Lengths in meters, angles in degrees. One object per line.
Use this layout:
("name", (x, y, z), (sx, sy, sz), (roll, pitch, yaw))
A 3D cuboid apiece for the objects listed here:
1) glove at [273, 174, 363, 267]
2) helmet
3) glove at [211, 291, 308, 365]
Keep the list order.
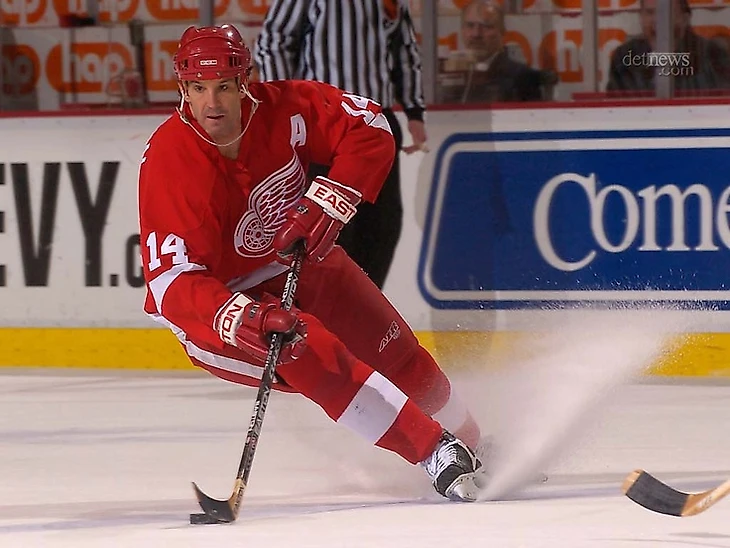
("glove", (-0.185, -0.209, 4.080), (0.233, 0.350, 0.143), (33, -14, 2))
("helmet", (-0.595, -0.829, 4.140), (0.344, 0.300, 0.370), (-5, 13, -7))
("glove", (-0.371, 0.199, 3.943), (0.335, 0.174, 0.222), (24, 45, 14))
